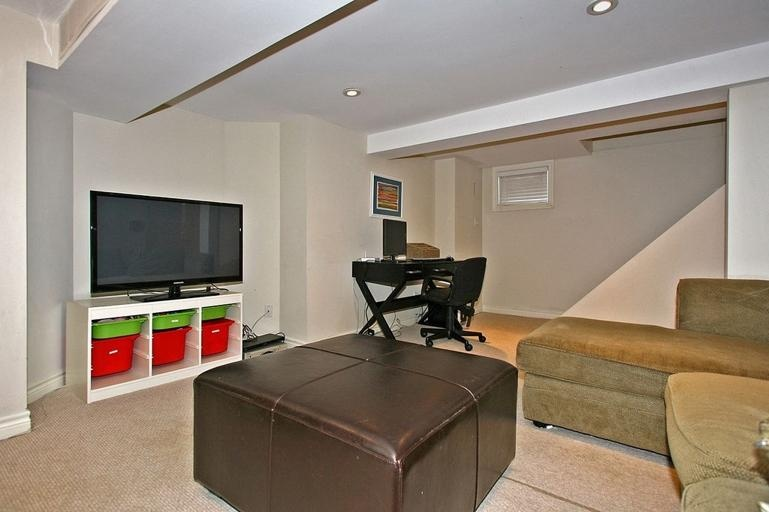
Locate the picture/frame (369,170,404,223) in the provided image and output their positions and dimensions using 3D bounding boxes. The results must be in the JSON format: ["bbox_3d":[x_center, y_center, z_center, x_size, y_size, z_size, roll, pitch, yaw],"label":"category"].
[{"bbox_3d":[0.003,-0.711,5.941,0.051,0.575,0.724,-3,-4,38],"label":"picture/frame"}]

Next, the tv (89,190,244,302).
[{"bbox_3d":[-2.020,-0.072,4.422,1.140,0.760,0.299,-1,2,-43],"label":"tv"}]

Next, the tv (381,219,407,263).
[{"bbox_3d":[0.101,-0.165,5.676,0.109,0.523,0.546,2,1,34],"label":"tv"}]
